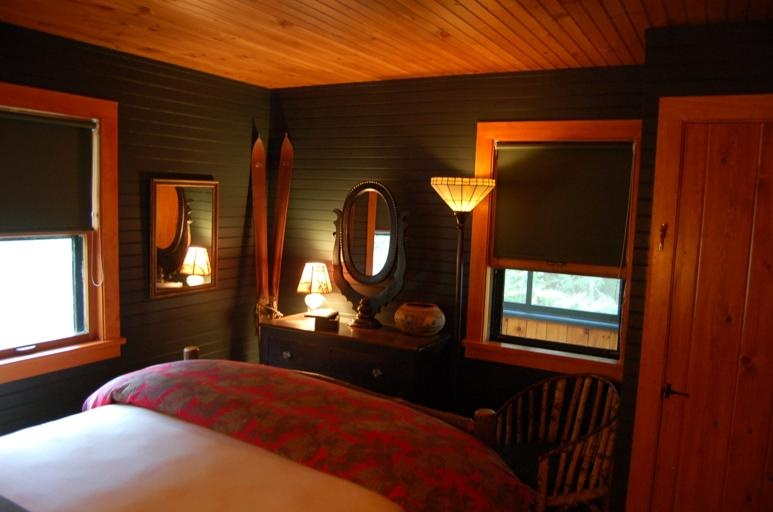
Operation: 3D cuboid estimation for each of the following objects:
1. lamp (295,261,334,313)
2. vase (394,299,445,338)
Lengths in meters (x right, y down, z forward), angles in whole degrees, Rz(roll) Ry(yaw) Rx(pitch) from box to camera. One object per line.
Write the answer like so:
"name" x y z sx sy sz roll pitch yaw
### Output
"lamp" -0.660 0.287 5.411 0.309 0.464 0.331 2 5 -3
"vase" 0.288 0.519 4.800 0.299 0.174 0.317 0 2 9
